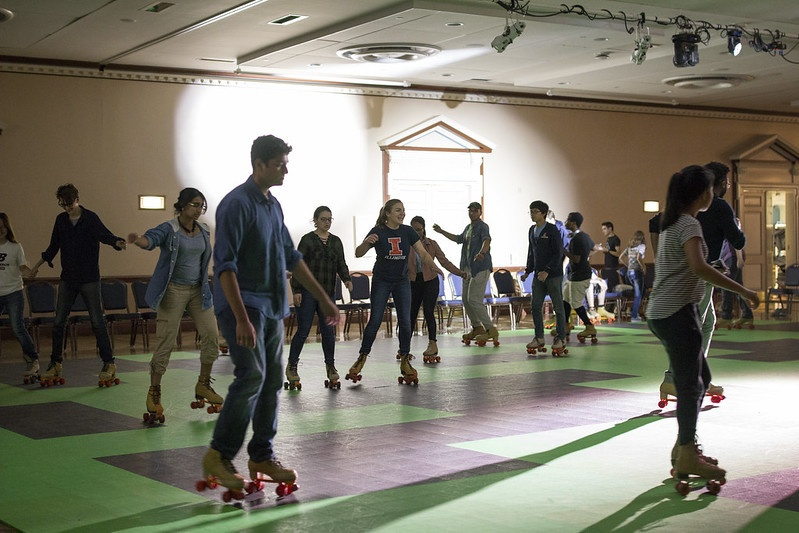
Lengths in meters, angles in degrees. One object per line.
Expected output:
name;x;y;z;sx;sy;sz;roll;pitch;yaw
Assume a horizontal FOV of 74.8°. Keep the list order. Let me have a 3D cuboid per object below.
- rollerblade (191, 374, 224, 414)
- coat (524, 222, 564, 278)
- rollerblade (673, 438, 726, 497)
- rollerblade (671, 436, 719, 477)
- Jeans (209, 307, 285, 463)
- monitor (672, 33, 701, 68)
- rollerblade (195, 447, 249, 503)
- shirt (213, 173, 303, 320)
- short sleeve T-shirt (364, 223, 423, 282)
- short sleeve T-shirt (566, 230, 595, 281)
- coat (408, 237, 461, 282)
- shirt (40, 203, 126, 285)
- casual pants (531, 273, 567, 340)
rollerblade;-2.016;1.347;5.511;0.389;0.332;0.187;5;-2;24
coat;2.512;-0.295;9.053;0.637;0.967;0.421;1;1;35
rollerblade;1.871;1.251;3.268;0.304;0.294;0.429;0;1;28
rollerblade;1.900;1.227;3.375;0.280;0.200;0.323;-2;-2;-6
Jeans;-0.926;0.722;3.160;0.367;0.973;0.408;0;1;14
monitor;5.811;-4.402;10.597;0.502;0.554;0.480;-16;17;-30
rollerblade;-1.042;1.233;3.125;0.314;0.283;0.115;7;-3;24
shirt;-0.851;-0.104;3.181;0.578;0.865;0.358;-1;1;-31
short sleeve T-shirt;-0.103;-0.175;6.913;0.820;0.746;0.419;1;13;-16
short sleeve T-shirt;3.567;-0.177;10.373;0.529;0.986;0.936;-1;-10;23
coat;0.642;-0.128;9.613;1.313;0.530;0.339;-5;0;32
shirt;-5.471;-0.391;8.879;2.103;1.418;0.589;0;-4;5
casual pants;2.625;0.704;9.176;0.577;1.189;0.686;0;1;16
